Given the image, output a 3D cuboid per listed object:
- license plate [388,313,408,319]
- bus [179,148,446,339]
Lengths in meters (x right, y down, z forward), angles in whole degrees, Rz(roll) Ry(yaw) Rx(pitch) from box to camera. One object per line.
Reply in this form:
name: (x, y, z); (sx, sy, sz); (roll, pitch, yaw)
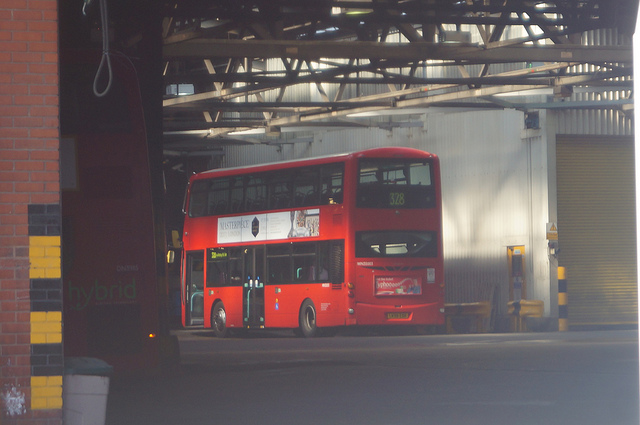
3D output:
license plate: (2.119, 2.767, 32.530); (0.540, 0.156, 0.038); (1, 2, -4)
bus: (-0.484, 0.937, 36.363); (3.298, 5.232, 10.004); (0, -2, -34)
